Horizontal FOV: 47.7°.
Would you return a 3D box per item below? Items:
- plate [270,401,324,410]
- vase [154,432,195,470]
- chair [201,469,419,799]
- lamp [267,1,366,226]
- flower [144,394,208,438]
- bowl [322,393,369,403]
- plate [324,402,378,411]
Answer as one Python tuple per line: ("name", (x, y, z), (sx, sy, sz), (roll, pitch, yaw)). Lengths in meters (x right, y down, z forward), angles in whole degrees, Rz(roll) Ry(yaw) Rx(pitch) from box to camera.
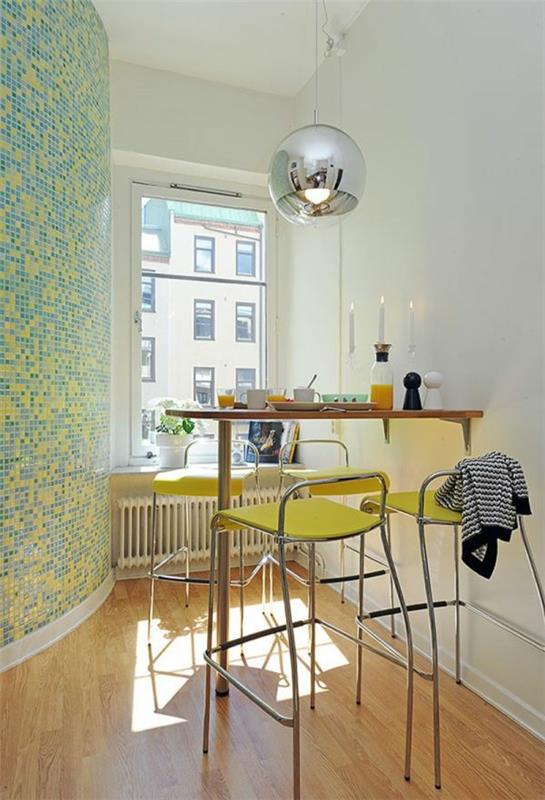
("plate", (0.070, 0.017, 1.947), (0.165, 0.023, 0.121), (1, 2, 34))
("vase", (-0.568, 0.281, 3.514), (0.175, 0.211, 0.210), (2, -3, -22))
("chair", (0.145, 0.789, 2.058), (0.609, 1.328, 0.585), (-2, 4, -33))
("lamp", (0.140, -0.786, 1.950), (0.292, 0.380, 0.340), (0, 1, 1))
("flower", (-0.599, 0.046, 3.615), (0.246, 0.222, 0.281), (0, 4, -13))
("bowl", (0.254, -0.005, 2.135), (0.100, 0.026, 0.073), (1, -1, 4))
("plate", (0.247, 0.022, 1.962), (0.175, 0.024, 0.211), (0, 1, 1))
